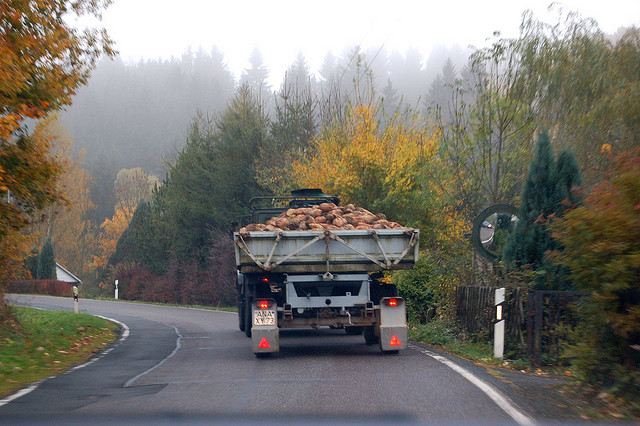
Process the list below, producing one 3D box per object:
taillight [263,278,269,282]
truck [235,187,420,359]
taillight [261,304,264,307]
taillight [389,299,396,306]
[{"bbox_3d":[-1.291,1.566,13.056,0.108,0.075,0.032,-1,-3,2],"label":"taillight"},{"bbox_3d":[-0.071,1.586,13.839,3.791,3.548,4.061,0,-4,-11],"label":"truck"},{"bbox_3d":[-1.255,1.994,11.992,0.054,0.041,0.056,2,5,-20],"label":"taillight"},{"bbox_3d":[1.661,1.975,12.310,0.159,0.162,0.089,1,-17,2],"label":"taillight"}]
